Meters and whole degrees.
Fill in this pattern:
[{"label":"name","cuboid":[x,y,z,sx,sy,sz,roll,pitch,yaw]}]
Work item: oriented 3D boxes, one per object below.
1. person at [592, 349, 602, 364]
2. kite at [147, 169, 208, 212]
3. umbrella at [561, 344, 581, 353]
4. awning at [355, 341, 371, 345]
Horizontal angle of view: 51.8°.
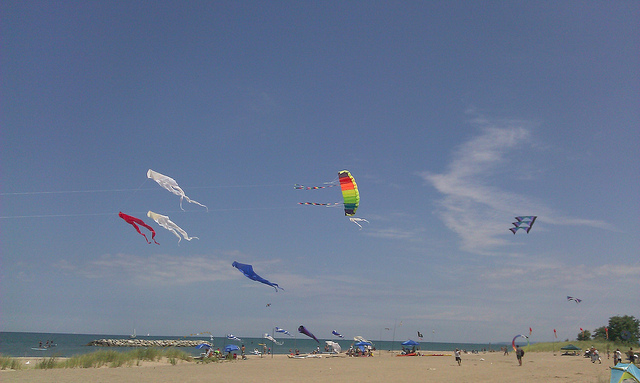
[{"label":"person","cuboid":[34.282,20.097,80.754,1.593,1.815,1.070,3,-5,17]},{"label":"kite","cuboid":[-14.913,-0.128,67.583,6.852,1.833,2.064,28,-2,-10]},{"label":"umbrella","cuboid":[35.226,21.768,92.261,2.144,0.936,1.993,3,-10,3]},{"label":"awning","cuboid":[6.236,21.510,93.767,2.379,0.533,1.306,13,-20,-33]}]
